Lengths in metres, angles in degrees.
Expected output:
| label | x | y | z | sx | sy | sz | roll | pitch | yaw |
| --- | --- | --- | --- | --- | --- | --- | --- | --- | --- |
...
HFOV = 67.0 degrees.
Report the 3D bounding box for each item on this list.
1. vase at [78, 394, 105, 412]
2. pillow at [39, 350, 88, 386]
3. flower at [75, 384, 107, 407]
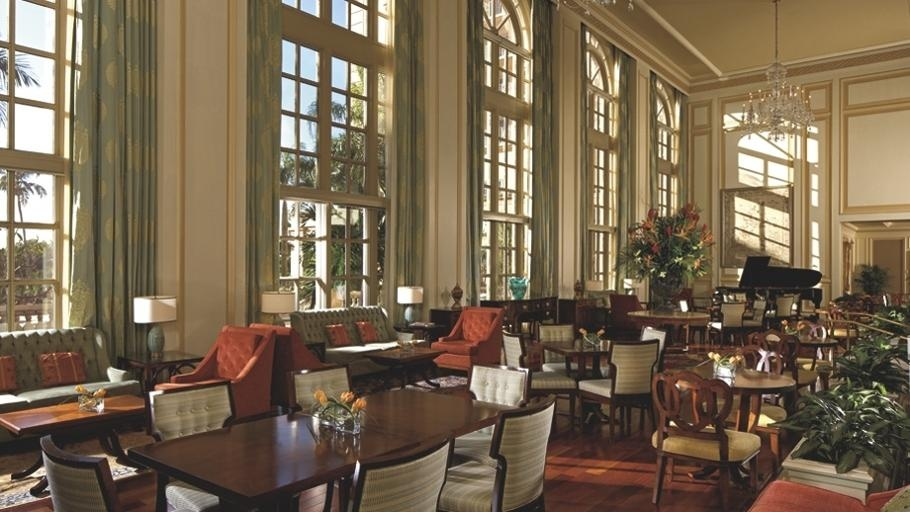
| label | x | y | z | sx | sy | sz | roll | pitch | yaw |
| --- | --- | --- | --- | --- | --- | --- | --- | --- | --- |
| vase | -4.594 | 1.860 | 8.689 | 0.343 | 0.184 | 0.247 | 5 | -4 | -8 |
| pillow | -5.674 | 1.634 | 9.921 | 0.492 | 0.411 | 0.232 | -6 | 7 | -32 |
| flower | -4.747 | 1.835 | 8.954 | 0.359 | 0.313 | 0.136 | 0 | -5 | -3 |
